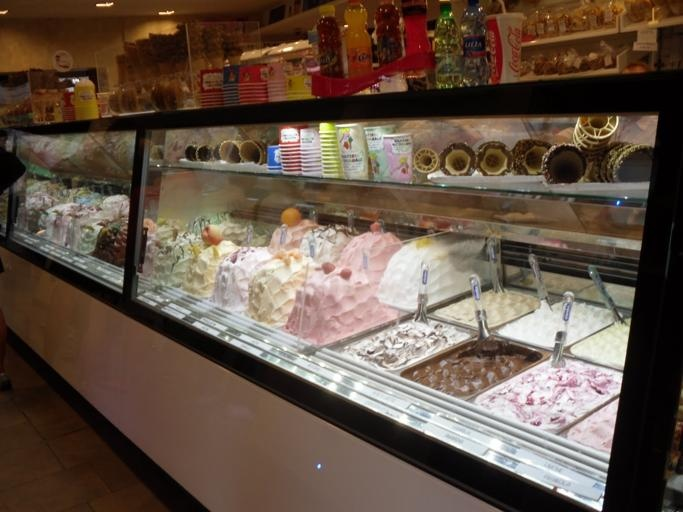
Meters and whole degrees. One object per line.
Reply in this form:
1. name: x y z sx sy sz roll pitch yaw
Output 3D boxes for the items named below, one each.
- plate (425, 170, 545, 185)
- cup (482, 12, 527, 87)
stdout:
1. plate: 0.350 -0.191 1.099 0.308 0.025 0.048 12 22 42
2. cup: 0.394 -0.500 1.065 0.083 0.168 0.254 2 17 20
